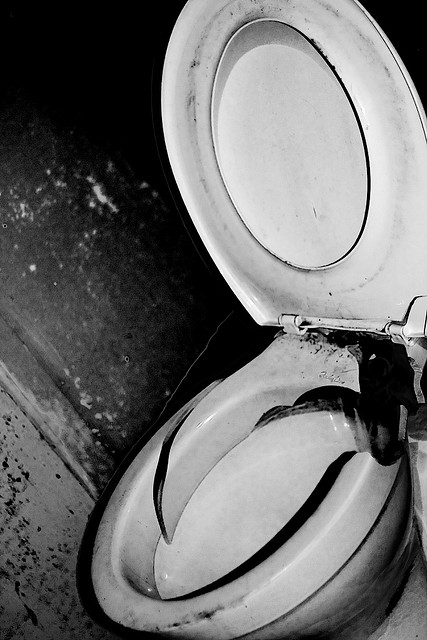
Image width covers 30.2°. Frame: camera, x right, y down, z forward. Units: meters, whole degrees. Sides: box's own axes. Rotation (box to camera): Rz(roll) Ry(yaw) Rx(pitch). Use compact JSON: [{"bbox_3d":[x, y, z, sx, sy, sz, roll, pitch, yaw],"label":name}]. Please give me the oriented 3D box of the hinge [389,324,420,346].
[{"bbox_3d":[0.201,0.021,0.852,0.027,0.011,0.019,24,-11,-30],"label":"hinge"}]
